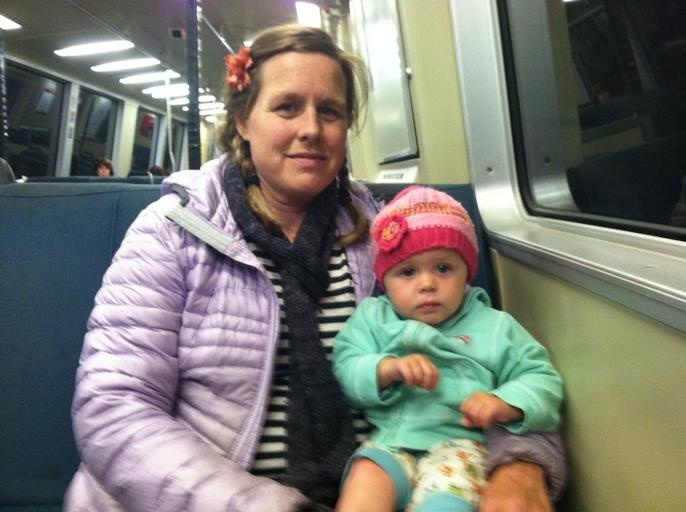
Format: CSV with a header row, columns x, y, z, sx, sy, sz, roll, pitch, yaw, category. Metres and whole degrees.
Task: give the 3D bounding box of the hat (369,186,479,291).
x,y,z,sx,sy,sz,roll,pitch,yaw,category
0.256,-0.088,1.645,0.284,0.312,0.322,-7,-27,4,hat
